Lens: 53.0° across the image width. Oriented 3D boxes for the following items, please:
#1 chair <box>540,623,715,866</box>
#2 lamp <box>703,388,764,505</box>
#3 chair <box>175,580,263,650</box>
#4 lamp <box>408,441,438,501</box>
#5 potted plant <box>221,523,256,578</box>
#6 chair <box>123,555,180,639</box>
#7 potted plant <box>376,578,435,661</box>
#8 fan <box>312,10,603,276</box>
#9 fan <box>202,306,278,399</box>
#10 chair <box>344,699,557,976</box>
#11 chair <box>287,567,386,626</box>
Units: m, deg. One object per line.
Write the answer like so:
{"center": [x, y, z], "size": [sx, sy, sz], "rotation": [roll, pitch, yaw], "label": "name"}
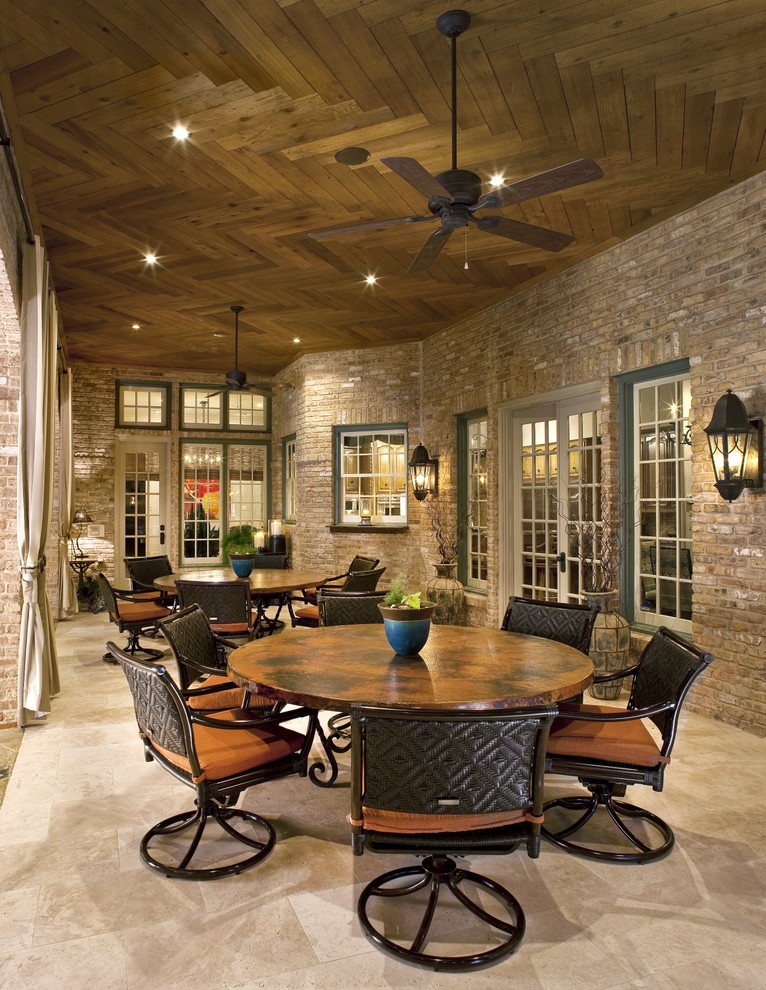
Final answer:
{"center": [0.870, 0.916, 2.995], "size": [0.834, 0.978, 0.868], "rotation": [0, -5, 9], "label": "chair"}
{"center": [1.908, -0.265, 4.174], "size": [0.292, 0.527, 0.240], "rotation": [-1, 0, -21], "label": "lamp"}
{"center": [-1.042, 0.770, 5.256], "size": [0.484, 0.657, 0.522], "rotation": [1, 1, 6], "label": "chair"}
{"center": [0.426, -0.240, 8.126], "size": [0.273, 0.583, 0.309], "rotation": [-1, 0, -7], "label": "lamp"}
{"center": [-1.138, 0.445, 6.024], "size": [0.237, 0.408, 0.327], "rotation": [-1, 0, -12], "label": "potted plant"}
{"center": [-1.912, 0.782, 6.737], "size": [0.470, 0.648, 0.507], "rotation": [0, -1, -42], "label": "chair"}
{"center": [0.148, 0.497, 3.045], "size": [0.266, 0.289, 0.255], "rotation": [0, 3, -22], "label": "potted plant"}
{"center": [0.349, -1.356, 3.248], "size": [0.981, 0.738, 1.022], "rotation": [-1, -9, 28], "label": "fan"}
{"center": [-1.626, -1.521, 8.358], "size": [0.901, 1.114, 0.900], "rotation": [0, -3, -14], "label": "fan"}
{"center": [0.170, 0.933, 2.229], "size": [0.534, 0.696, 0.608], "rotation": [-1, 0, -3], "label": "chair"}
{"center": [-0.394, 0.779, 6.212], "size": [0.764, 0.690, 0.561], "rotation": [0, 0, 40], "label": "chair"}
